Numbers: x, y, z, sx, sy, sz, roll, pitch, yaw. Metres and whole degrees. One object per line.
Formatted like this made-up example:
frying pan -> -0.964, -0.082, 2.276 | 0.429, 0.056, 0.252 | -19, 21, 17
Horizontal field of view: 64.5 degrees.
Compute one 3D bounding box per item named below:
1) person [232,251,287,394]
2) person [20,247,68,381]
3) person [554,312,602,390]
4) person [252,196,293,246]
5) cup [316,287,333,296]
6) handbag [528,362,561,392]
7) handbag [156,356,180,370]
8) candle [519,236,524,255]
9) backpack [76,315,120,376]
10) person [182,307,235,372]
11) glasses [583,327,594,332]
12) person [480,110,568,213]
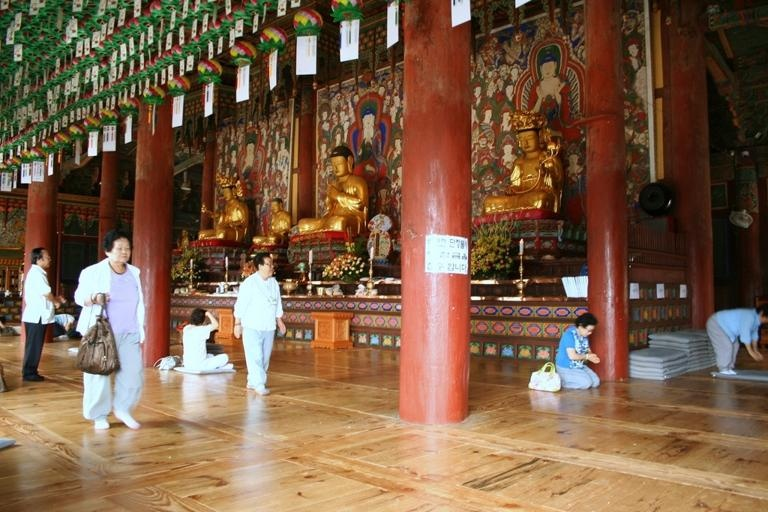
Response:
person -> -1.232, 0.668, 5.978 | 0.475, 1.350, 0.438 | -2, 4, -24
person -> -3.784, 0.638, 6.698 | 0.397, 1.428, 0.678 | -2, 4, -29
person -> 2.023, 0.958, 6.256 | 0.606, 0.754, 0.388 | -3, 5, -43
person -> -2.385, -0.701, 13.025 | 0.704, 1.187, 0.851 | 15, -21, -40
cup -> -0.963, 0.592, 9.819 | 0.206, 0.094, 0.136 | 2, -8, -16
handbag -> 1.624, 1.248, 6.164 | 0.218, 0.199, 0.093 | -14, -43, 41
handbag -> -2.608, 1.285, 7.268 | 0.157, 0.084, 0.202 | 2, -4, -43
candle -> 1.806, -0.099, 8.032 | 0.033, 0.198, 0.185 | 1, 4, 20
backpack -> -2.236, 0.713, 4.725 | 0.293, 0.483, 0.160 | -2, 4, -21
person -> -2.071, 0.966, 6.960 | 0.625, 0.735, 0.442 | 1, 4, 26
glasses -> 2.034, 0.747, 6.085 | 0.050, 0.063, 0.033 | 3, 26, -30
person -> 2.182, -1.409, 9.328 | 1.072, 1.610, 0.939 | 1, 4, 16
